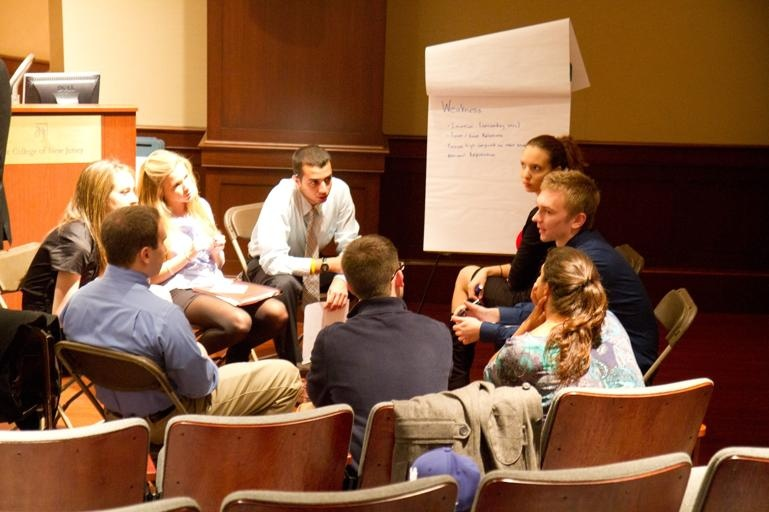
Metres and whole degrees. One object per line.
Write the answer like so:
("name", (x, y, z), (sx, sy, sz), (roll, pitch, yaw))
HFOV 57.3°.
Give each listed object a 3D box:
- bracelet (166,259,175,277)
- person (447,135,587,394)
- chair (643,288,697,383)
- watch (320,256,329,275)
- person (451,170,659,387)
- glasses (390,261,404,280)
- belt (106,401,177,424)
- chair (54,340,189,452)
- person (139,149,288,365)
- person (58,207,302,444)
("bracelet", (-1.276, 0.084, 4.235), (0.052, 0.073, 0.068), (0, 14, 3))
("person", (0.832, 0.082, 4.612), (0.885, 1.726, 0.581), (3, 20, 11))
("chair", (1.787, 0.527, 4.369), (0.376, 0.575, 0.371), (-1, 47, 6))
("watch", (-0.390, 0.069, 4.667), (0.043, 0.085, 0.079), (-1, 9, -5))
("person", (0.946, 0.282, 4.139), (1.136, 1.666, 0.548), (-4, 31, -6))
("glasses", (0.070, 0.071, 3.485), (0.022, 0.081, 0.074), (-5, 1, -18))
("belt", (-1.109, 0.716, 3.243), (0.128, 0.067, 0.176), (1, -11, 14))
("chair", (-1.144, 0.605, 3.106), (0.257, 0.526, 0.374), (8, 39, -2))
("person", (-1.068, 0.102, 4.393), (0.781, 1.512, 0.539), (5, 19, 31))
("person", (-1.021, 0.481, 3.662), (0.973, 1.544, 0.870), (-12, 19, -37))
